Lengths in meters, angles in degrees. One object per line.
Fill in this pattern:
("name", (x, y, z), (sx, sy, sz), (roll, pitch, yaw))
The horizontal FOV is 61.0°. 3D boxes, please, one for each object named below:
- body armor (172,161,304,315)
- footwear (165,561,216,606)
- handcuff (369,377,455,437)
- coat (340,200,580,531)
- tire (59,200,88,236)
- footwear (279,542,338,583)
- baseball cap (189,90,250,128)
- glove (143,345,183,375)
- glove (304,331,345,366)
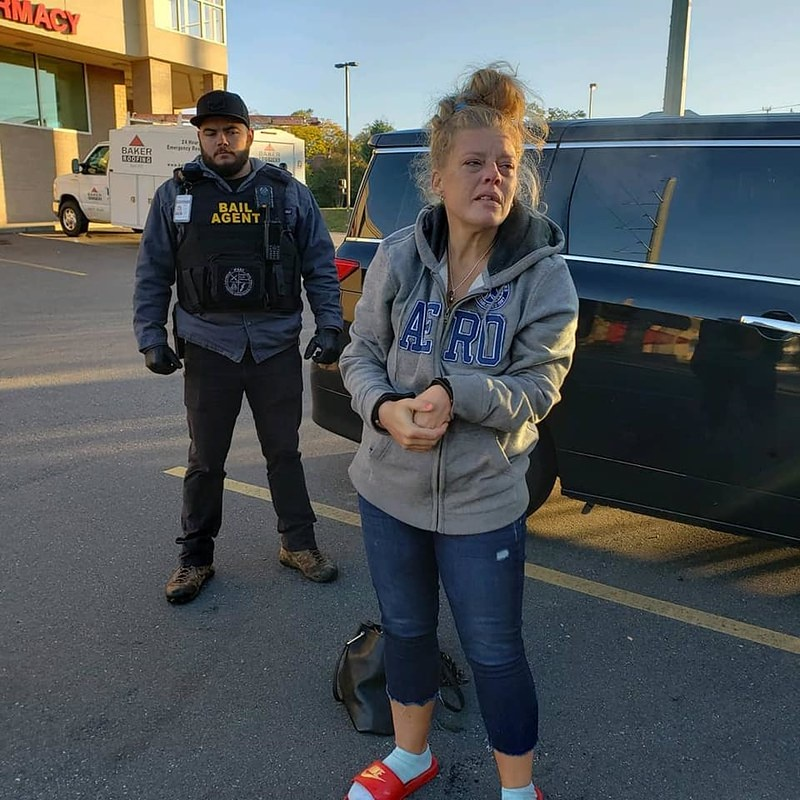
("body armor", (-0.667, -0.648, 2.727), (0.609, 0.771, 0.398), (-2, 3, -16))
("footwear", (-0.898, 0.776, 2.921), (0.081, 0.107, 0.235), (-1, 0, 11))
("handcuff", (0.020, 0.013, 1.477), (0.150, 0.068, 0.113), (-2, 10, 17))
("coat", (0.106, -0.086, 1.615), (0.570, 0.723, 0.425), (6, 20, 13))
("tire", (-8.860, -5.003, 18.517), (0.906, 0.930, 0.345), (-1, 7, 33))
("footwear", (-0.403, 0.733, 3.116), (0.300, 0.140, 0.112), (11, 18, 35))
("baseball cap", (-0.701, -1.141, 2.653), (0.229, 0.141, 0.324), (-4, 21, -16))
("glove", (-0.962, -0.165, 2.761), (0.131, 0.161, 0.248), (-6, 21, -20))
("glove", (-0.310, -0.219, 2.868), (0.076, 0.153, 0.179), (12, -9, -43))
